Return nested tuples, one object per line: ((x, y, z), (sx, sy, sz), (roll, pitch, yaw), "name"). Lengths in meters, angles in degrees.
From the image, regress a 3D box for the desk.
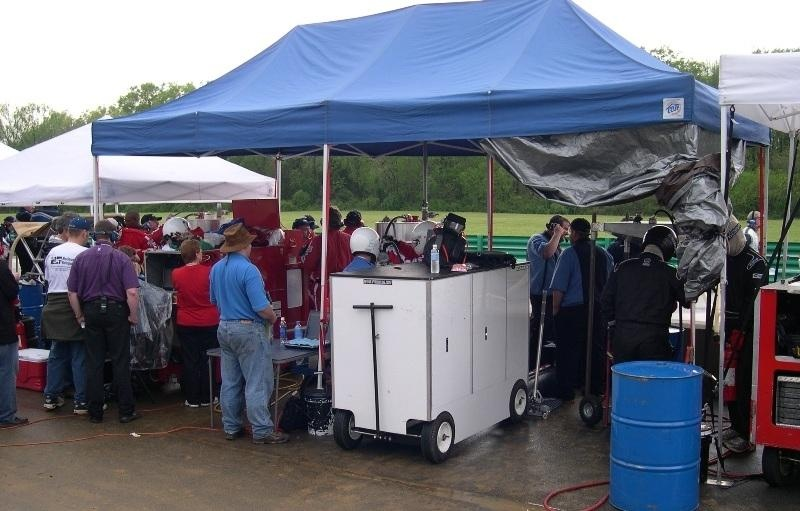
((-1.744, 1.637, 12.685), (1.093, 1.168, 1.252), (0, -2, 17), "desk")

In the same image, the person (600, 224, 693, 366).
((3.134, 0.967, 12.275), (1.000, 2.720, 0.864), (3, 21, 10), "person")

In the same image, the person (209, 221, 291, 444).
((-1.999, 1.012, 12.279), (0.804, 2.803, 0.415), (-1, 3, 23), "person")

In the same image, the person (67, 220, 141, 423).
((-3.979, 0.905, 12.932), (0.926, 2.714, 0.387), (-2, 2, -8), "person")

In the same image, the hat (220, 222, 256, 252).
((-2.074, -0.209, 12.250), (0.331, 0.197, 0.373), (17, 43, 32), "hat")

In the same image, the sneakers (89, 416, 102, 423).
((-4.123, 2.214, 12.991), (0.065, 0.078, 0.184), (3, 4, 25), "sneakers")

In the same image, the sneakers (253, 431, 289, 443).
((-1.661, 2.340, 12.332), (0.342, 0.149, 0.178), (-4, 1, -6), "sneakers")

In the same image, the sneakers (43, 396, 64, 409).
((-4.854, 2.056, 13.436), (0.122, 0.150, 0.322), (4, 8, 22), "sneakers")

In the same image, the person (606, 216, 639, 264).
((3.151, -0.205, 13.577), (0.471, 0.768, 1.458), (-2, -6, 13), "person")

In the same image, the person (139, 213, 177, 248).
((-4.051, -0.401, 15.942), (0.455, 0.520, 1.546), (13, 8, -13), "person")

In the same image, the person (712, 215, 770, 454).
((4.200, 0.990, 11.701), (0.552, 2.960, 0.988), (-1, 2, 18), "person")

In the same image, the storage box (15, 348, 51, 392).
((-5.362, 1.692, 13.982), (0.712, 0.473, 0.401), (3, -1, 19), "storage box")

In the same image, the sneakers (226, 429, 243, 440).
((-2.165, 2.325, 12.508), (0.090, 0.112, 0.258), (3, 7, 19), "sneakers")
